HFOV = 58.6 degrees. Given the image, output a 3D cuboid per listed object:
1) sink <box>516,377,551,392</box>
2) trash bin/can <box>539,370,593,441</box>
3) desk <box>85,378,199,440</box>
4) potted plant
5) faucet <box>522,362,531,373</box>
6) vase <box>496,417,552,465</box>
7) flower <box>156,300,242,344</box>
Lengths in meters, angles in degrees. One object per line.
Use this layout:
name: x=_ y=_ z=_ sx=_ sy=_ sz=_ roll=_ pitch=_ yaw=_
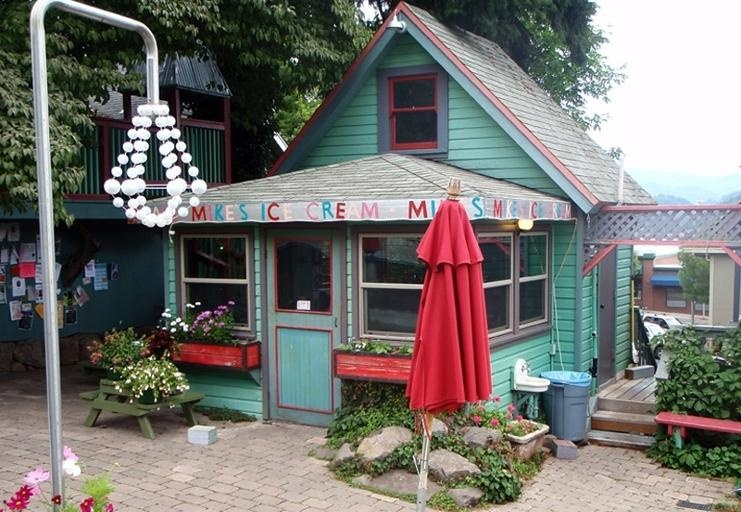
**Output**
sink: x=2.908 y=2.316 z=11.868 sx=0.388 sy=0.150 sz=0.371 roll=-1 pitch=1 yaw=24
trash bin/can: x=3.669 y=2.743 z=12.394 sx=0.793 sy=1.235 sz=0.932 roll=0 pitch=0 yaw=36
desk: x=-4.003 y=2.681 z=11.474 sx=1.780 sy=0.704 sz=1.901 roll=10 pitch=10 yaw=42
potted plant: x=0.062 y=1.803 z=11.079 sx=1.348 sy=0.721 sz=0.495 roll=6 pitch=10 yaw=19
faucet: x=2.865 y=2.058 z=12.139 sx=0.152 sy=0.081 sz=0.226 roll=2 pitch=-38 yaw=3
vase: x=2.587 y=3.011 z=10.966 sx=0.764 sy=0.621 sz=0.767 roll=5 pitch=7 yaw=31
flower: x=-3.225 y=1.280 z=12.462 sx=1.149 sy=0.537 sz=0.852 roll=2 pitch=6 yaw=13
